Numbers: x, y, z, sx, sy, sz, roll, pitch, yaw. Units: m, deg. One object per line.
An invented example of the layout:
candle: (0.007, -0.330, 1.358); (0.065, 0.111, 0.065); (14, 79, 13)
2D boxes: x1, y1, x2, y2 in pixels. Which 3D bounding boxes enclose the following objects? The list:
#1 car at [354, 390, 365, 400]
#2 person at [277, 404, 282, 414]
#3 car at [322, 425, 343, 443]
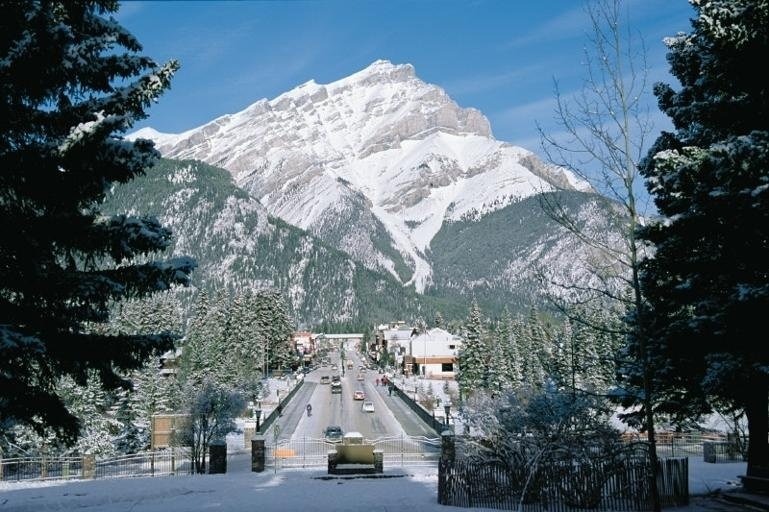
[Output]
car: (-2.415, 13.557, 96.257); (0.941, 0.790, 2.216); (1, -2, -3)
person: (-8.653, 12.631, 81.662); (0.556, 0.755, 1.849); (-1, -12, -3)
car: (-3.505, 12.040, 66.731); (1.026, 0.953, 1.930); (-1, -17, -2)
